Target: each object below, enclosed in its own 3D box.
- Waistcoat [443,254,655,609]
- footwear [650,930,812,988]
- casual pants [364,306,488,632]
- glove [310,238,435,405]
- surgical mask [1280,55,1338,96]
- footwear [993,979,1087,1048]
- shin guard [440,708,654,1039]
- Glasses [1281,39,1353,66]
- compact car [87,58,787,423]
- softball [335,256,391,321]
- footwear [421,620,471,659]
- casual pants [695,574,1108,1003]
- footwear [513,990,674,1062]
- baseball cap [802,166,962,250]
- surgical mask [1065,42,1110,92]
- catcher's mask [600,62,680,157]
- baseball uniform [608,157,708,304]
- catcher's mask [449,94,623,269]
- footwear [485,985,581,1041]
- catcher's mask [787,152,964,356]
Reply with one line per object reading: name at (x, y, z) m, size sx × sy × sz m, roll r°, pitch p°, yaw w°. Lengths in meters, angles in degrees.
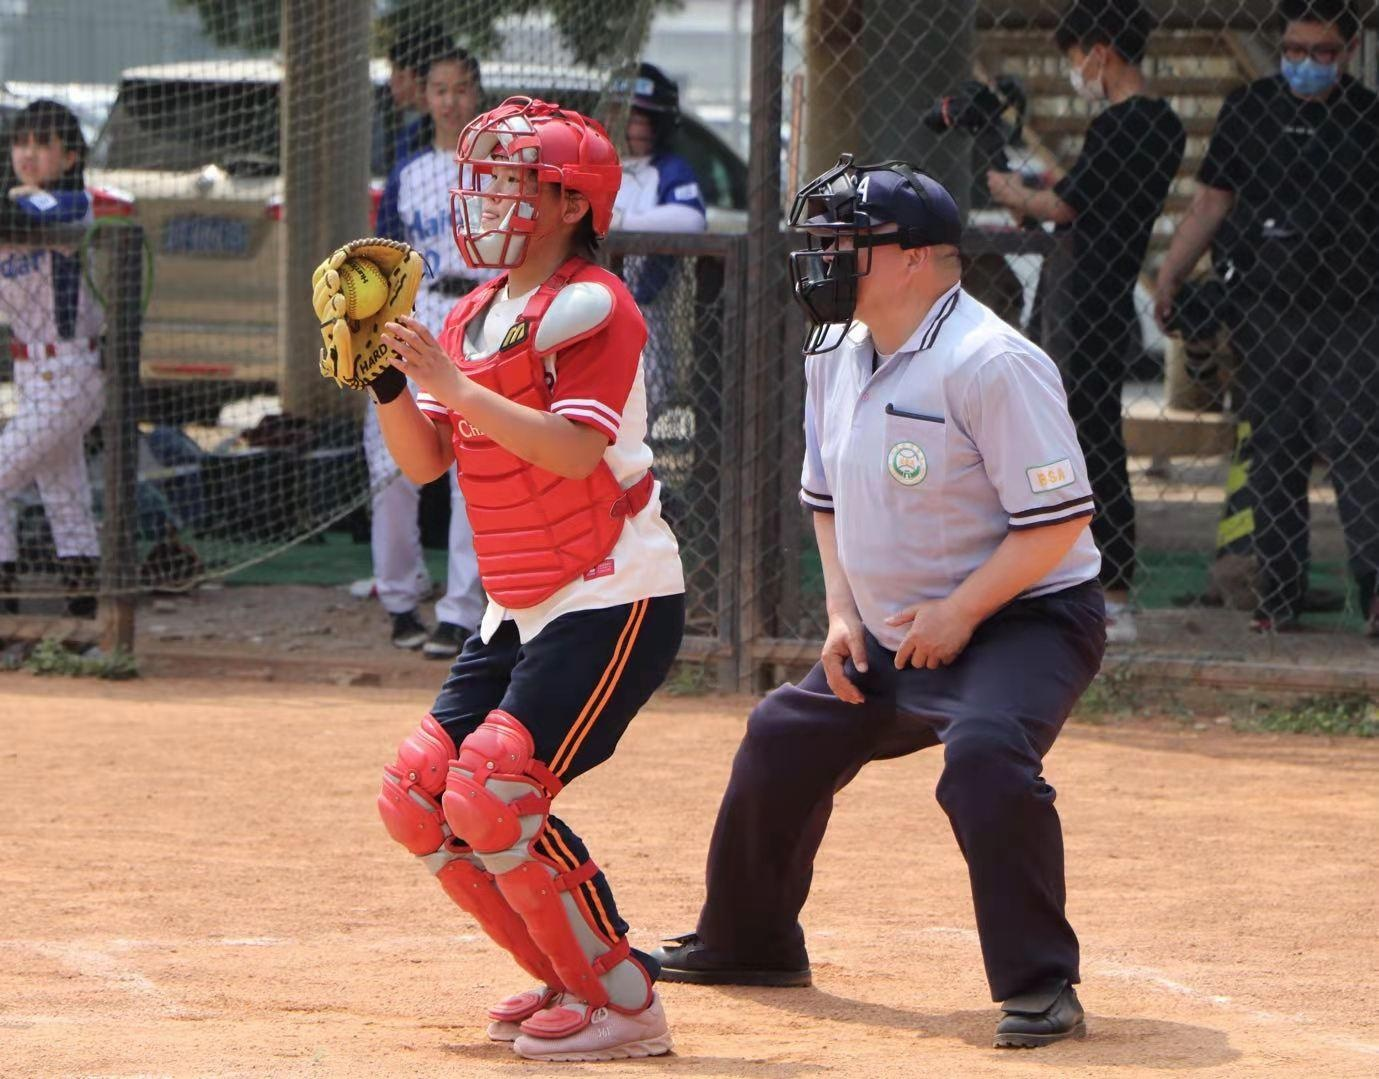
Waistcoat at (-0.378, -0.266, 5.994) m, size 0.551 × 0.862 × 0.333 m, roll 3°, pitch 16°, yaw 11°
footwear at (0.098, 1.171, 6.578) m, size 0.460 × 0.162 × 0.159 m, roll 3°, pitch -1°, yaw 10°
casual pants at (-1.160, -0.223, 9.698) m, size 0.344 × 1.090 × 0.373 m, roll -14°, pitch -2°, yaw -12°
glove at (-0.796, -0.551, 6.016) m, size 0.337 × 0.364 × 0.198 m, roll 1°, pitch -6°, yaw 22°
surgical mask at (2.252, -1.698, 8.646) m, size 0.169 × 0.104 × 0.155 m, roll 7°, pitch 16°, yaw 24°
footwear at (0.886, 1.214, 5.981) m, size 0.286 × 0.106 × 0.107 m, roll 3°, pitch -6°, yaw -37°
shin guard at (-0.342, 0.840, 5.941) m, size 0.517 × 0.836 × 0.182 m, roll -1°, pitch 16°, yaw -3°
Glasses at (2.283, -1.779, 8.657) m, size 0.221 × 0.076 × 0.086 m, roll 3°, pitch 15°, yaw 11°
compact car at (-1.069, -1.473, 10.883) m, size 2.938 × 1.186 × 1.559 m, roll 0°, pitch 12°, yaw -3°
softball at (-0.810, -0.628, 5.944) m, size 0.162 × 0.145 × 0.093 m, roll -19°, pitch -15°, yaw -49°
footwear at (-0.948, 0.401, 9.558) m, size 0.185 × 0.180 × 0.450 m, roll 1°, pitch -2°, yaw 7°
casual pants at (0.620, 0.736, 6.551) m, size 0.663 × 1.176 × 1.170 m, roll 28°, pitch -17°, yaw -37°
footwear at (-0.233, 1.247, 6.071) m, size 0.415 × 0.150 × 0.148 m, roll 1°, pitch 1°, yaw -10°
baseball cap at (0.502, -0.859, 6.093) m, size 0.353 × 0.131 × 0.234 m, roll 6°, pitch 12°, yaw -1°
surgical mask at (1.515, -1.757, 8.884) m, size 0.138 × 0.156 × 0.139 m, roll -4°, pitch 17°, yaw -30°
catcher's mask at (-0.263, -1.765, 9.508) m, size 0.354 × 0.371 × 0.420 m, roll 2°, pitch -9°, yaw 10°
baseball uniform at (-0.133, -1.254, 9.433) m, size 0.267 × 0.591 × 0.490 m, roll 21°, pitch -25°, yaw -30°
catcher's mask at (-0.382, -0.912, 6.050) m, size 0.494 × 0.369 × 0.380 m, roll -8°, pitch 16°, yaw -32°
footwear at (-0.395, 1.220, 6.136) m, size 0.112 × 0.079 × 0.225 m, roll 7°, pitch 8°, yaw 39°
catcher's mask at (0.528, -0.766, 6.231) m, size 0.528 × 0.477 × 0.385 m, roll -6°, pitch 7°, yaw -4°
